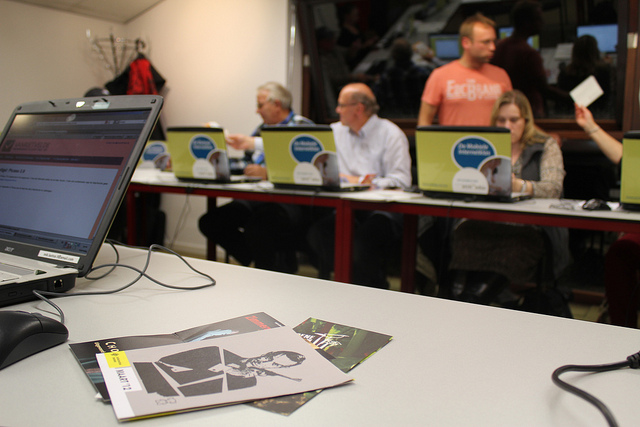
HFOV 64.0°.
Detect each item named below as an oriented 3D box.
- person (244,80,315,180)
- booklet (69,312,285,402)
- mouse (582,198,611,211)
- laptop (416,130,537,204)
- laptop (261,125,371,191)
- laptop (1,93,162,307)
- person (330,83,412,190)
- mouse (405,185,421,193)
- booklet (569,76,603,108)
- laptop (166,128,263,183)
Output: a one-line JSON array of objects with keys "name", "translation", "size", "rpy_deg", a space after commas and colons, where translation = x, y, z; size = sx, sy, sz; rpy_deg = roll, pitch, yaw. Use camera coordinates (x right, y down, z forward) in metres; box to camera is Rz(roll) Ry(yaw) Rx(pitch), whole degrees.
[{"name": "person", "translation": [-0.314, -0.487, 3.675], "size": [0.500, 0.914, 0.414], "rpy_deg": [2, 25, -7]}, {"name": "booklet", "translation": [-0.273, 0.334, 1.094], "size": [0.425, 0.248, 0.067], "rpy_deg": [-9, 38, 0]}, {"name": "mouse", "translation": [1.132, -0.032, 2.079], "size": [0.138, 0.035, 0.071], "rpy_deg": [-3, 12, -14]}, {"name": "laptop", "translation": [0.604, -0.200, 2.167], "size": [0.376, 0.292, 0.322], "rpy_deg": [3, 11, 29]}, {"name": "laptop", "translation": [0.008, -0.204, 2.535], "size": [0.412, 0.305, 0.370], "rpy_deg": [11, -11, 45]}, {"name": "laptop", "translation": [-0.613, -0.047, 1.335], "size": [0.465, 0.365, 0.482], "rpy_deg": [7, 13, 19]}, {"name": "person", "translation": [0.286, -0.406, 3.268], "size": [0.482, 0.786, 0.458], "rpy_deg": [14, 16, 42]}, {"name": "mouse", "translation": [0.458, -0.116, 2.501], "size": [0.031, 0.038, 0.094], "rpy_deg": [-2, -1, 17]}, {"name": "booklet", "translation": [1.373, -0.621, 2.642], "size": [0.041, 0.168, 0.171], "rpy_deg": [25, 28, -56]}, {"name": "laptop", "translation": [-0.620, -0.313, 2.766], "size": [0.393, 0.249, 0.312], "rpy_deg": [6, 11, 30]}]
